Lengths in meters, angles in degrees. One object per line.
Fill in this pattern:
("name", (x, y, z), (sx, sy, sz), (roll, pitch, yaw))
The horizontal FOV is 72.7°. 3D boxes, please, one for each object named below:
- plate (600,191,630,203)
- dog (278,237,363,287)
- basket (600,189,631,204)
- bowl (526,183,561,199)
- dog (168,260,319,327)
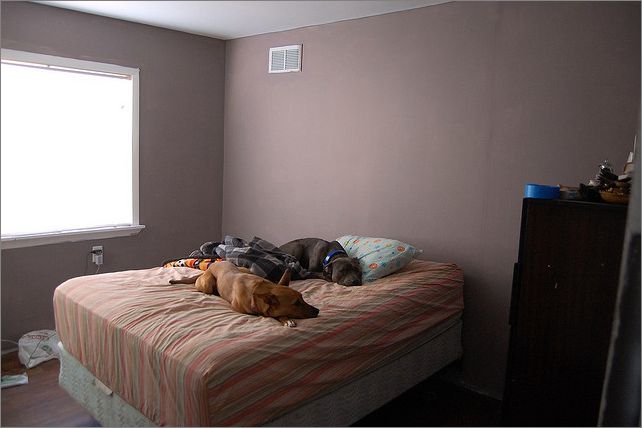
("plate", (1.697, -0.097, 2.533), (0.145, 0.066, 0.144), (5, 10, 41))
("dog", (0.021, 0.383, 3.678), (0.291, 0.256, 0.805), (-3, 14, -42))
("basket", (1.666, -0.097, 2.468), (0.125, 0.051, 0.126), (11, 17, 42))
("bowl", (1.377, -0.129, 2.705), (0.190, 0.082, 0.282), (2, 9, 27))
("dog", (-0.489, 0.540, 2.995), (0.388, 0.256, 0.707), (-12, 27, -40))
